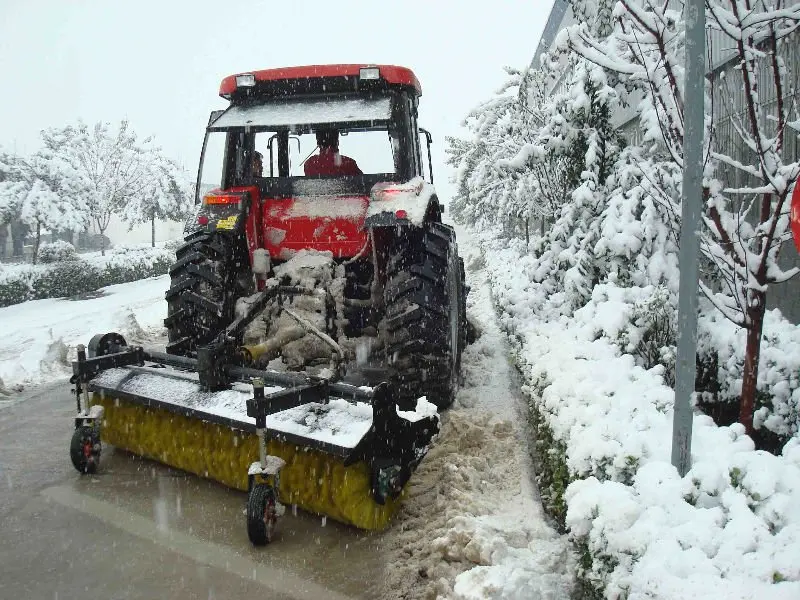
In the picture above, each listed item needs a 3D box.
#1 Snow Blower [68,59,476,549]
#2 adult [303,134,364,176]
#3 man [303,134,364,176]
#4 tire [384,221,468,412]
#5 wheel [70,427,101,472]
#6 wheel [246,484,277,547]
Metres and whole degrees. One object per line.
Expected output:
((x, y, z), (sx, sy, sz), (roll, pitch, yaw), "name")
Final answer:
((-0.741, -0.593, 6.724), (2.264, 3.306, 4.710), (4, 18, 13), "Snow Blower")
((-0.716, -1.573, 6.972), (0.574, 0.356, 0.533), (1, -31, 3), "adult")
((-0.714, -1.569, 6.978), (0.573, 0.349, 0.536), (-2, -34, 1), "man")
((0.197, 0.158, 5.910), (0.480, 1.873, 1.613), (1, -2, 3), "tire")
((-2.611, 1.243, 5.693), (0.076, 0.272, 0.277), (-5, -20, 9), "wheel")
((-0.976, 1.512, 4.833), (0.088, 0.323, 0.281), (-1, -39, 8), "wheel")
